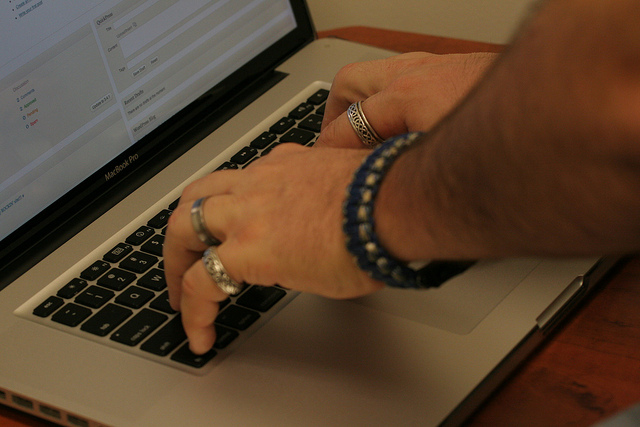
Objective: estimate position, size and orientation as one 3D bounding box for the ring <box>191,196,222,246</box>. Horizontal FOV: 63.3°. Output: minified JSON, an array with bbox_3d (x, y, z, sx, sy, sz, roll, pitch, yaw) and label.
[{"bbox_3d":[-0.146,0.007,0.650,0.012,0.048,0.049,-12,22,3],"label":"ring"}]

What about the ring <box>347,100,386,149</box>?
[{"bbox_3d":[0.060,-0.130,0.781,0.023,0.057,0.066,-37,64,30],"label":"ring"}]
